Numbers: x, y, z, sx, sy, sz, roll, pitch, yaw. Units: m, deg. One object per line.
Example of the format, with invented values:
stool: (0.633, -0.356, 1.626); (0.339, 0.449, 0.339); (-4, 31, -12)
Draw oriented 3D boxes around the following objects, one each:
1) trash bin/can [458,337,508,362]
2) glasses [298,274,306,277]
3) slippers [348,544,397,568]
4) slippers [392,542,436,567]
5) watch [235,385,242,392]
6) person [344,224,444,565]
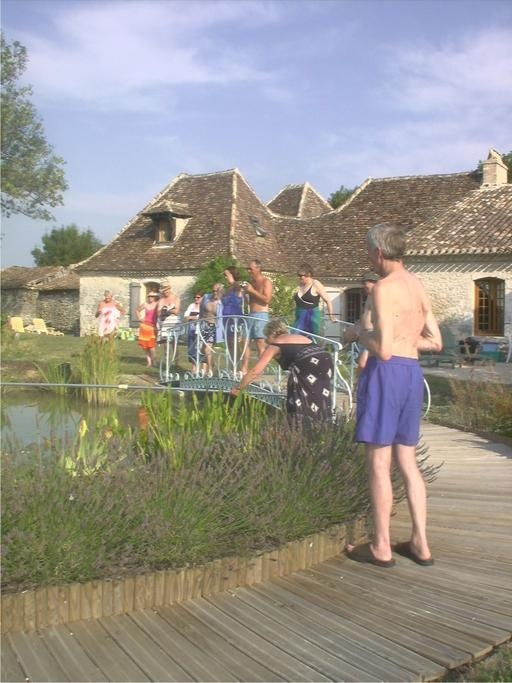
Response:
trash bin/can: (5.474, 0.202, 18.953); (0.889, 0.328, 0.872); (3, 6, 41)
glasses: (0.528, -0.740, 8.758); (0.056, 0.040, 0.056); (-2, 15, -13)
slippers: (0.552, 0.998, 3.683); (0.193, 0.066, 0.084); (14, 13, 39)
slippers: (0.740, 1.003, 3.701); (0.072, 0.067, 0.182); (-4, 3, -31)
watch: (-0.113, 0.324, 5.405); (0.040, 0.012, 0.035); (-8, 36, 9)
person: (0.667, 0.244, 3.682); (0.420, 1.581, 0.406); (1, 4, -8)
